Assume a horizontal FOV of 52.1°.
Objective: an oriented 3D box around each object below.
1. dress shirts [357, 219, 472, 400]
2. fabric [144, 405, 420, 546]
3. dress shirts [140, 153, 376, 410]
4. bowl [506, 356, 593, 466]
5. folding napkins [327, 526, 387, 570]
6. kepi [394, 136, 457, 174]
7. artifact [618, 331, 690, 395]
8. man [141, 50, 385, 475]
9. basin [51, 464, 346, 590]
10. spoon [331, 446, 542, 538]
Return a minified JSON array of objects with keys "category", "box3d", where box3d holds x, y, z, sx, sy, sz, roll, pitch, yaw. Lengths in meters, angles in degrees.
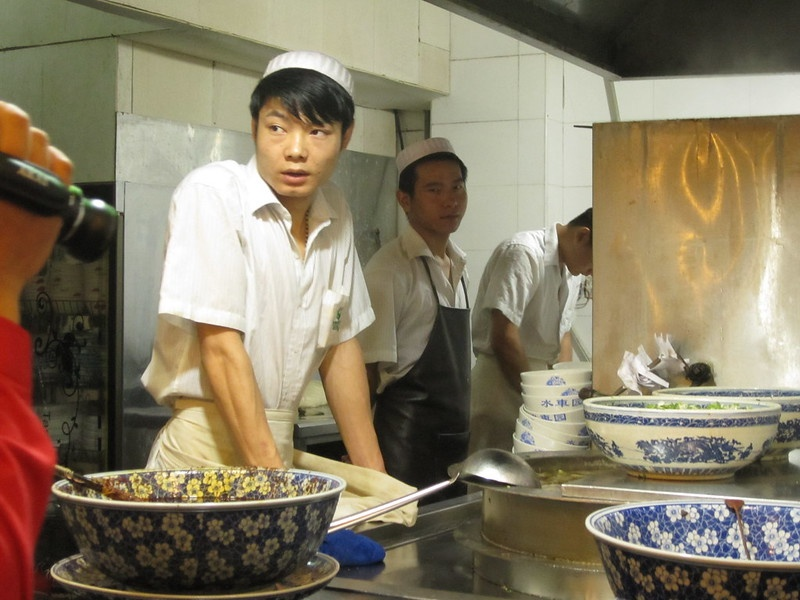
[{"category":"dress shirts","box3d":[0.089,0.030,3.227,0.310,0.649,0.687,1,4,36]},{"category":"fabric","box3d":[-0.273,0.347,1.824,0.430,0.177,0.302,6,-9,3]},{"category":"dress shirts","box3d":[-0.346,-0.061,2.010,0.328,0.641,0.674,3,-4,35]},{"category":"bowl","box3d":[0.392,0.305,2.212,0.219,0.313,0.223,1,-5,0]},{"category":"folding napkins","box3d":[-0.080,0.441,1.451,0.122,0.034,0.131,12,-1,26]},{"category":"kepi","box3d":[0.081,-0.584,3.390,0.283,0.120,0.302,11,26,28]},{"category":"artifact","box3d":[0.711,0.171,2.318,0.160,0.115,0.160,2,3,7]},{"category":"man","box3d":[-0.285,-0.070,1.938,0.505,0.964,0.536,7,-9,-37]},{"category":"basin","box3d":[-0.252,0.283,1.039,0.359,0.118,0.243,-2,2,-10]},{"category":"spoon","box3d":[0.078,0.301,1.392,0.418,0.064,0.147,-13,3,-40]}]
